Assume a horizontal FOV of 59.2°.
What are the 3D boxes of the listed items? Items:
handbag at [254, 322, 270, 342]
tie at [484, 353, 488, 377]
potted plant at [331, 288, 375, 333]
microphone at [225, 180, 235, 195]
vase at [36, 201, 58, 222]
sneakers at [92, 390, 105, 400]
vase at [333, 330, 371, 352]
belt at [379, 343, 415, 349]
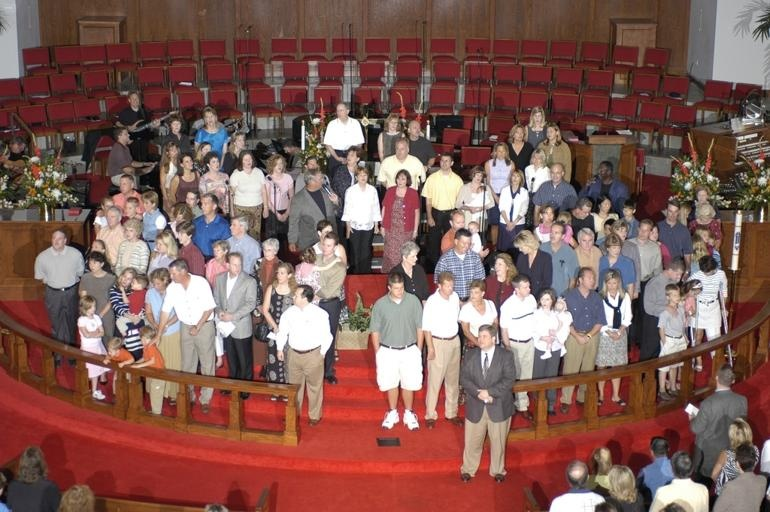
[{"bbox_3d":[-1.761,1.093,9.687,0.258,0.293,0.196,3,1,-29],"label":"handbag"},{"bbox_3d":[1.305,1.381,8.699,0.055,0.255,0.087,1,-20,-4],"label":"tie"},{"bbox_3d":[-0.472,0.832,10.960,0.451,0.660,0.312,-1,-50,-3],"label":"potted plant"},{"bbox_3d":[-2.735,-1.205,11.926,0.105,0.351,0.078,-1,-33,-13],"label":"microphone"},{"bbox_3d":[-6.397,-0.838,12.935,0.336,0.393,0.350,1,6,-3],"label":"vase"},{"bbox_3d":[-4.326,2.097,10.241,0.135,0.056,0.135,-1,4,-38],"label":"sneakers"},{"bbox_3d":[-0.521,1.361,10.761,0.549,0.326,0.369,-1,2,1],"label":"vase"},{"bbox_3d":[0.175,1.246,9.400,0.472,0.080,0.068,-1,-21,-1],"label":"belt"}]
